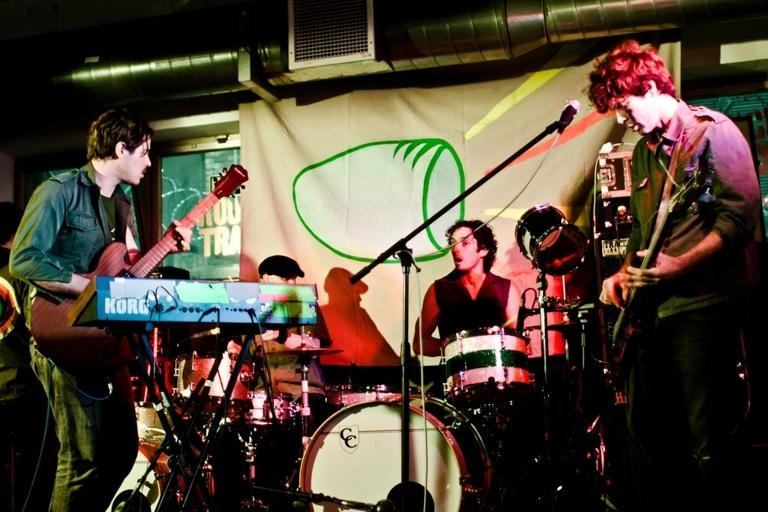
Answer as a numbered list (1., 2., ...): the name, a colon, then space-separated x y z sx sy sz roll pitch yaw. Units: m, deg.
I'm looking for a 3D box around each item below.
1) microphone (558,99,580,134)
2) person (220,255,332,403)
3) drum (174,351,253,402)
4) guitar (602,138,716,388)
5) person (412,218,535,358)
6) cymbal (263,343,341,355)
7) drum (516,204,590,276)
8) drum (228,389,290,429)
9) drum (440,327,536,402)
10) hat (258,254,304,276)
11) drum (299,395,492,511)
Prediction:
1. microphone: 1.154 -0.874 5.350 0.127 0.261 0.297 -3 -6 13
2. person: -0.816 0.524 6.633 0.630 1.162 0.657 7 15 4
3. drum: -1.272 0.896 6.397 0.413 0.342 0.486 1 -5 -6
4. guitar: 1.680 0.019 5.231 0.126 1.368 0.465 15 8 24
5. person: 0.670 0.393 6.756 0.794 1.472 0.880 -3 -16 19
6. cymbal: -0.677 0.709 6.428 0.741 0.073 0.414 -6 -8 33
7. drum: 1.120 -0.114 6.042 0.429 0.491 0.449 17 19 -17
8. drum: -0.884 1.108 6.222 0.487 0.228 0.134 0 -6 -12
9. drum: 0.675 0.753 5.808 0.477 0.333 0.481 -4 -18 -1
10. hat: -0.806 0.093 6.943 0.213 0.084 0.195 10 4 29
11. drum: 0.131 0.998 6.022 1.131 1.411 0.719 1 -4 15
